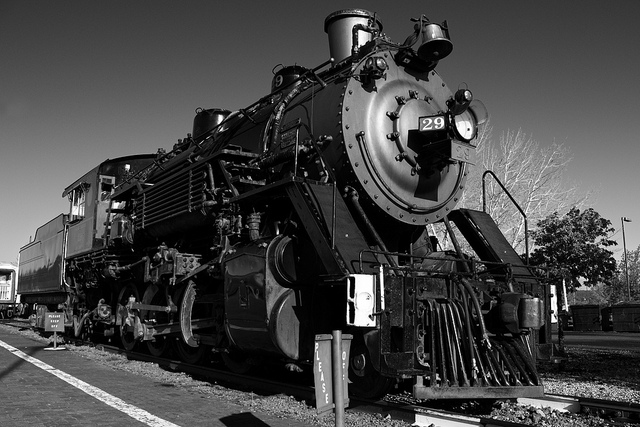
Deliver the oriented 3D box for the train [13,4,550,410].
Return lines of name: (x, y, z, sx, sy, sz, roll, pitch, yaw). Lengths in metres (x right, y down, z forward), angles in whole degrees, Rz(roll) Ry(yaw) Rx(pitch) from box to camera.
train: (-2.397, 0.835, 14.378, 5.805, 7.292, 17.681, 7, -11, -36)
